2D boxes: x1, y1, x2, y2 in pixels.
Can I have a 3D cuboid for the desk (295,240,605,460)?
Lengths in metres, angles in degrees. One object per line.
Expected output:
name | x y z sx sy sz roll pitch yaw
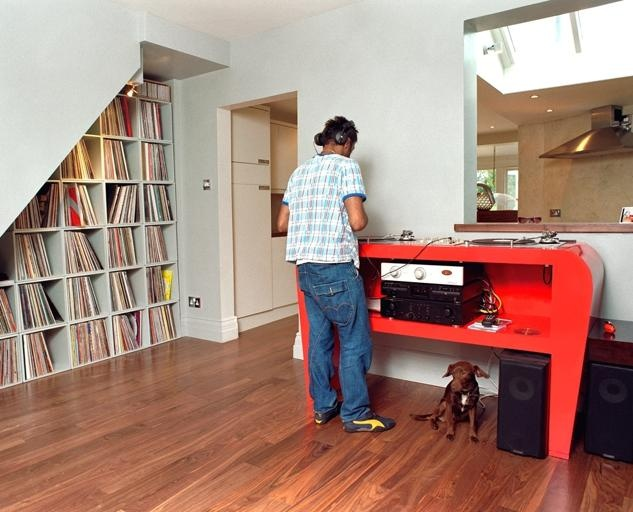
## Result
desk | 0.769 0.414 2.876 1.723 1.047 0.761 4 9 32

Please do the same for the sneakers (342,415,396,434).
sneakers | 0.300 0.955 2.638 0.263 0.112 0.112 -2 0 -5

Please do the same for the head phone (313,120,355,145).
head phone | 0.130 -0.710 2.725 0.155 0.085 0.179 -3 -5 8

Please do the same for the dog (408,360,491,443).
dog | 0.810 0.796 2.660 0.309 0.429 0.560 -2 -4 -3

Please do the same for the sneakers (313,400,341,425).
sneakers | 0.071 0.933 2.735 0.065 0.080 0.199 2 8 30

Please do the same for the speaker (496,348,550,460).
speaker | 1.063 0.759 2.354 0.241 0.497 0.153 2 9 24
